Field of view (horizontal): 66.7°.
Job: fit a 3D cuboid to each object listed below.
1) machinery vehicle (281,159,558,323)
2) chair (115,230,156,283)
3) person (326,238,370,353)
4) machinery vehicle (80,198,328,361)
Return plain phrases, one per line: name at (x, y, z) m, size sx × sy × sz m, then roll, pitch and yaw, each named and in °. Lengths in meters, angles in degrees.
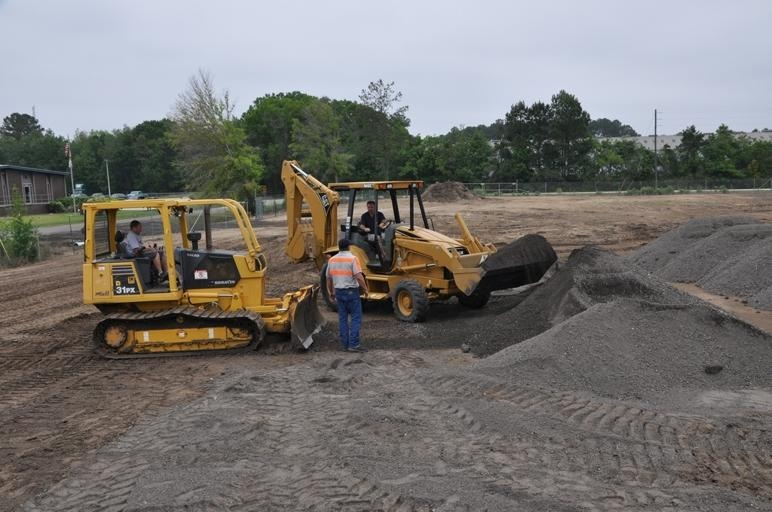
machinery vehicle at (0.212, -0.583, 13.859) m, size 6.829 × 3.265 × 2.656 m, roll 5°, pitch 10°, yaw 40°
chair at (-4.698, -0.019, 10.882) m, size 0.709 × 0.840 × 0.534 m, roll 13°, pitch 16°, yaw -9°
person at (-0.734, 0.710, 11.083) m, size 0.689 × 2.037 × 0.801 m, roll -5°, pitch 7°, yaw -8°
machinery vehicle at (-3.303, 0.250, 11.350) m, size 4.479 × 2.515 × 2.473 m, roll -1°, pitch 9°, yaw 10°
